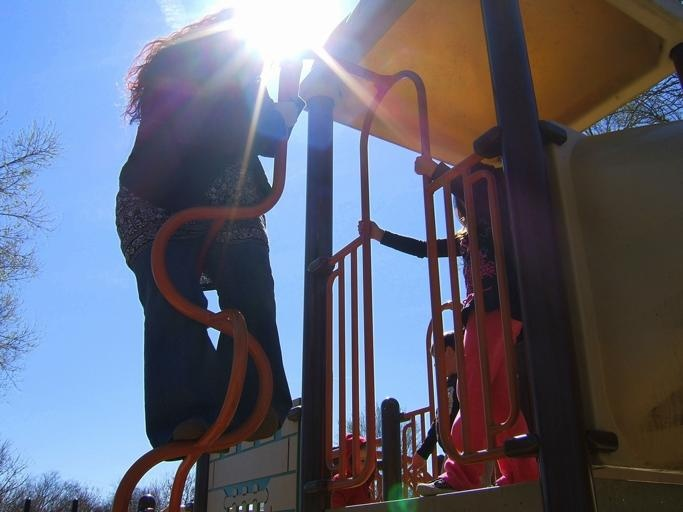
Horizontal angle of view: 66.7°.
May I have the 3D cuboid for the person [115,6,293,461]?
[{"bbox_3d":[-0.476,-0.131,1.885,0.720,1.492,0.584,15,-34,-28],"label":"person"}]
